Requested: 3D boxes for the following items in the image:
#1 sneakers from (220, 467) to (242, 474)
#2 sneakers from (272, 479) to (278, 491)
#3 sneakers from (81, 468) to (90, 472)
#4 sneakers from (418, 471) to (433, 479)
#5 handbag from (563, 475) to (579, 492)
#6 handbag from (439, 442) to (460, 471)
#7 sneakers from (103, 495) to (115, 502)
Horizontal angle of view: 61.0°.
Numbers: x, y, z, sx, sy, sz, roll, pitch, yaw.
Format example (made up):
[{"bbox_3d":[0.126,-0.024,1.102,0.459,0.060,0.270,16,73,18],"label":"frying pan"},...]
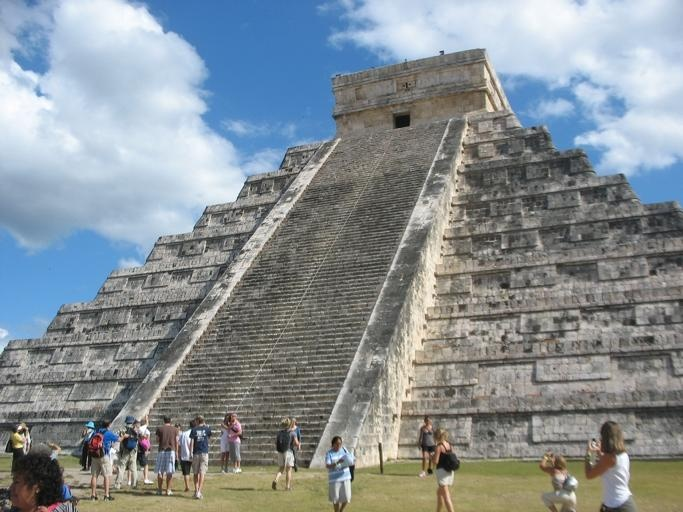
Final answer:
[{"bbox_3d":[-2.240,4.359,11.724,0.439,0.186,0.159,7,-21,-4],"label":"sneakers"},{"bbox_3d":[-1.149,4.007,10.162,0.120,0.218,0.155,-8,-24,7],"label":"sneakers"},{"bbox_3d":[-5.631,4.728,12.803,0.117,0.048,0.155,1,-5,3],"label":"sneakers"},{"bbox_3d":[1.615,4.259,11.260,0.305,0.129,0.103,16,-32,-36],"label":"sneakers"},{"bbox_3d":[2.882,2.866,7.306,0.148,0.200,0.199,-12,-26,32],"label":"handbag"},{"bbox_3d":[1.525,2.943,8.315,0.332,0.320,0.213,-5,-9,14],"label":"handbag"},{"bbox_3d":[-3.801,3.983,9.502,0.164,0.072,0.075,2,-8,-11],"label":"sneakers"}]
